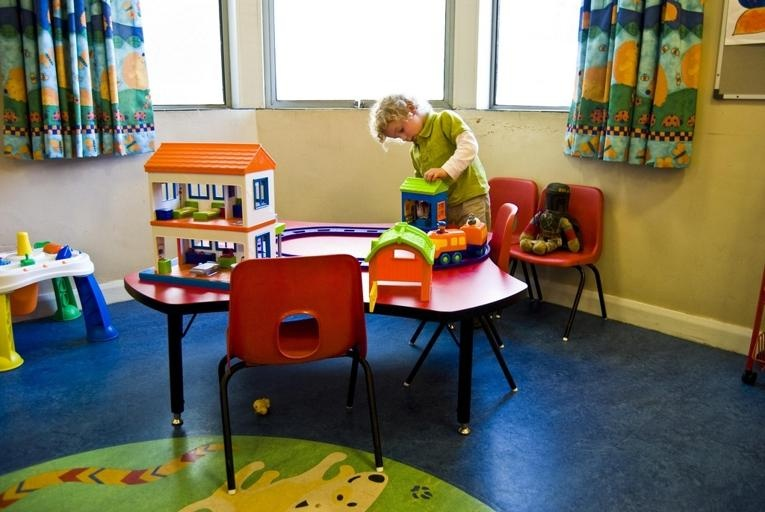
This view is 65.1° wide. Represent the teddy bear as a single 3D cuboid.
[{"bbox_3d":[1.143,-0.255,4.078,0.413,0.458,0.399,1,11,-2],"label":"teddy bear"}]

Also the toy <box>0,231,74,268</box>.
[{"bbox_3d":[-2.153,-0.084,3.763,0.241,0.107,0.321,3,10,6],"label":"toy"}]
